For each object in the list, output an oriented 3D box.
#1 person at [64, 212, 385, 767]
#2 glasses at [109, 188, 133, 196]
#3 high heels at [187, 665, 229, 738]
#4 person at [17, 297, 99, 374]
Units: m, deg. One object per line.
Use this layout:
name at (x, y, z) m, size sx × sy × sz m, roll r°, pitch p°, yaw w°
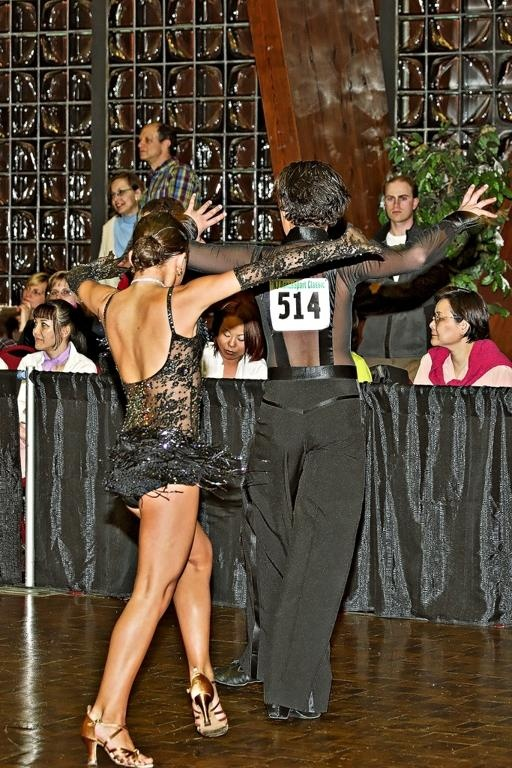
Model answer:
person at (-0.177, 0.250, 2.146) m, size 0.533 × 1.459 × 0.697 m, roll 4°, pitch -6°, yaw -21°
glasses at (-1.211, -1.689, 7.144) m, size 0.194 × 0.066 × 0.078 m, roll -1°, pitch -6°, yaw 20°
high heels at (-0.138, 0.903, 2.261) m, size 0.089 × 0.120 × 0.244 m, roll -11°, pitch -38°, yaw 3°
person at (-1.342, -0.276, 5.435) m, size 0.729 × 0.568 × 0.433 m, roll 7°, pitch 5°, yaw 41°
